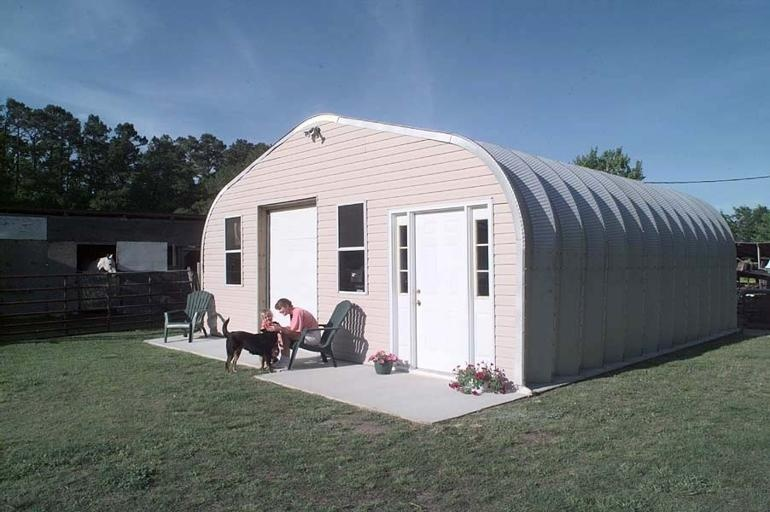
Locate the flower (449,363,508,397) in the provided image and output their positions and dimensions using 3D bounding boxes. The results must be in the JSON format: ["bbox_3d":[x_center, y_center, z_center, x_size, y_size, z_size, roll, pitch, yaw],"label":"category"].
[{"bbox_3d":[1.659,2.168,9.089,0.612,0.228,0.627,-3,-4,33],"label":"flower"}]

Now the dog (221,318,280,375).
[{"bbox_3d":[-2.691,1.801,10.494,1.037,0.982,0.544,-1,4,-11],"label":"dog"}]

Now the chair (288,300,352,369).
[{"bbox_3d":[-1.394,1.584,10.908,1.313,1.288,1.103,1,0,-23],"label":"chair"}]

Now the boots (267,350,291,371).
[{"bbox_3d":[-2.160,2.210,10.811,0.236,0.419,0.529,-9,-17,34],"label":"boots"}]

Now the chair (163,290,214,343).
[{"bbox_3d":[-5.068,1.549,13.524,0.980,1.159,1.158,-2,0,11],"label":"chair"}]

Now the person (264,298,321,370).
[{"bbox_3d":[-1.964,1.621,11.154,1.234,1.420,0.828,-1,-4,-20],"label":"person"}]

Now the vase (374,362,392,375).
[{"bbox_3d":[-0.020,2.164,10.074,0.269,0.187,0.232,0,-6,-3],"label":"vase"}]
